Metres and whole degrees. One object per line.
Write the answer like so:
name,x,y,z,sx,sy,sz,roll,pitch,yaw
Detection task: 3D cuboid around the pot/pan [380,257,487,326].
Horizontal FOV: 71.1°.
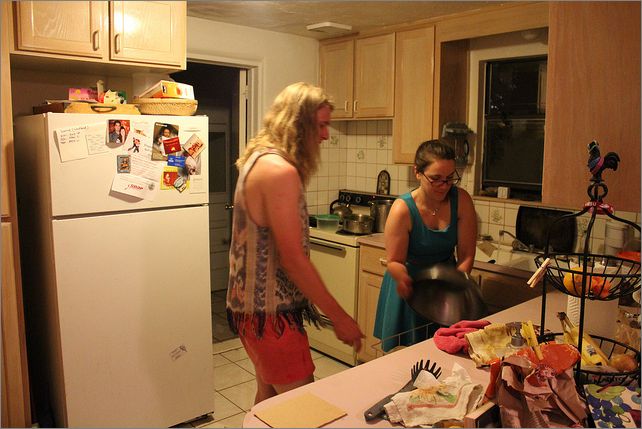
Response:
pot/pan,0.611,0.382,2.109,0.348,0.129,0.341,-15,11,-31

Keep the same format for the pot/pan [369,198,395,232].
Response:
pot/pan,0.499,0.038,3.880,0.194,0.268,0.304,1,1,26

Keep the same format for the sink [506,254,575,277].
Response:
sink,1.079,0.258,2.216,0.265,0.080,0.251,0,1,39

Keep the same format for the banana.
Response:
banana,0.934,0.446,1.577,0.065,0.214,0.104,-28,-4,-36

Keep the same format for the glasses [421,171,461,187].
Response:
glasses,0.662,-0.201,2.476,0.220,0.073,0.148,-1,11,-4

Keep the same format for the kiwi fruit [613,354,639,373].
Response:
kiwi fruit,1.023,0.496,1.517,0.051,0.037,0.065,-27,8,-5

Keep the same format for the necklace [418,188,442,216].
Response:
necklace,0.583,-0.058,2.535,0.137,0.144,0.031,42,-28,-24

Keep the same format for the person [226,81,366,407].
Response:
person,-0.146,0.117,1.969,0.542,1.372,0.427,-3,11,-13

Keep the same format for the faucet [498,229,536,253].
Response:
faucet,1.438,0.209,3.309,0.117,0.084,0.282,31,-3,-43

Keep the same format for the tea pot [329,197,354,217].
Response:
tea pot,0.207,-0.064,4.276,0.206,0.208,0.144,-3,17,-21

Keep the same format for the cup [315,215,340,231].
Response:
cup,0.078,0.072,3.887,0.144,0.067,0.141,2,5,0

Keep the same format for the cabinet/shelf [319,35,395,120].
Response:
cabinet/shelf,0.397,-1.241,4.155,0.855,0.705,0.318,9,14,39
